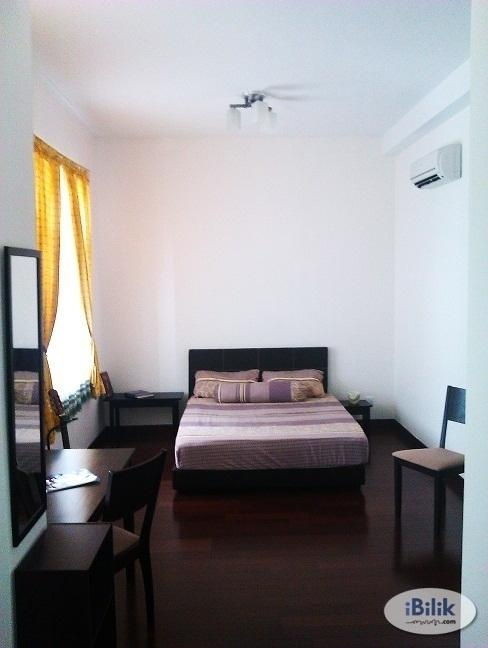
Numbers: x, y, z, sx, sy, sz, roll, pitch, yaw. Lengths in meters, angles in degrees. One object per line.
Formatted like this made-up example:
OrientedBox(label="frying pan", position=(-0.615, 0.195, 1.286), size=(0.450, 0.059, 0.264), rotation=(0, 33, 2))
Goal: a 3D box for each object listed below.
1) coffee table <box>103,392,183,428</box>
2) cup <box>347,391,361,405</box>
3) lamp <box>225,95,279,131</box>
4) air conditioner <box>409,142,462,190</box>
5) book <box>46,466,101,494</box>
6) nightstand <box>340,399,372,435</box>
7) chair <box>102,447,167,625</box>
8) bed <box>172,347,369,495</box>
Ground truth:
OrientedBox(label="coffee table", position=(-0.988, 0.861, 5.178), size=(0.764, 0.341, 0.439), rotation=(-1, 4, -4))
OrientedBox(label="cup", position=(1.105, 0.758, 5.146), size=(0.093, 0.113, 0.065), rotation=(-3, -31, 43))
OrientedBox(label="lamp", position=(0.044, -1.667, 4.043), size=(0.340, 0.267, 0.357), rotation=(-8, 21, -22))
OrientedBox(label="air conditioner", position=(1.499, -1.221, 4.023), size=(0.195, 0.282, 0.527), rotation=(-1, 4, -2))
OrientedBox(label="book", position=(-0.820, 0.749, 2.475), size=(0.236, 0.016, 0.260), rotation=(-2, 4, -25))
OrientedBox(label="nightstand", position=(1.111, 0.912, 5.163), size=(0.290, 0.345, 0.319), rotation=(-1, 0, 3))
OrientedBox(label="chair", position=(-0.475, 0.969, 2.290), size=(0.279, 0.736, 0.262), rotation=(-2, 4, -16))
OrientedBox(label="bed", position=(0.172, 0.745, 4.533), size=(1.456, 0.857, 1.760), rotation=(-1, 4, -1))
